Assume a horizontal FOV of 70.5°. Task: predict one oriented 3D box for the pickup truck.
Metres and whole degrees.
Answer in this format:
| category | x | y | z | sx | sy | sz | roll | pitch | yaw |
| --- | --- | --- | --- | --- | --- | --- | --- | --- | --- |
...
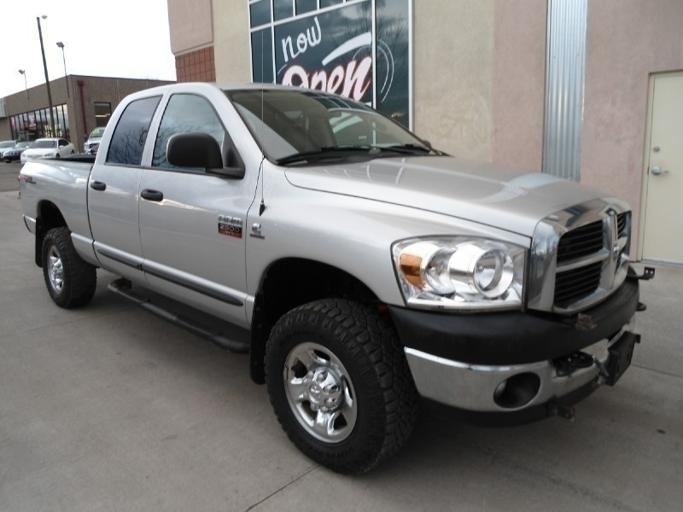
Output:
| category | x | y | z | sx | sy | sz | roll | pitch | yaw |
| --- | --- | --- | --- | --- | --- | --- | --- | --- | --- |
| pickup truck | -0.690 | 0.020 | 3.758 | 2.180 | 1.829 | 4.646 | -10 | 19 | -41 |
